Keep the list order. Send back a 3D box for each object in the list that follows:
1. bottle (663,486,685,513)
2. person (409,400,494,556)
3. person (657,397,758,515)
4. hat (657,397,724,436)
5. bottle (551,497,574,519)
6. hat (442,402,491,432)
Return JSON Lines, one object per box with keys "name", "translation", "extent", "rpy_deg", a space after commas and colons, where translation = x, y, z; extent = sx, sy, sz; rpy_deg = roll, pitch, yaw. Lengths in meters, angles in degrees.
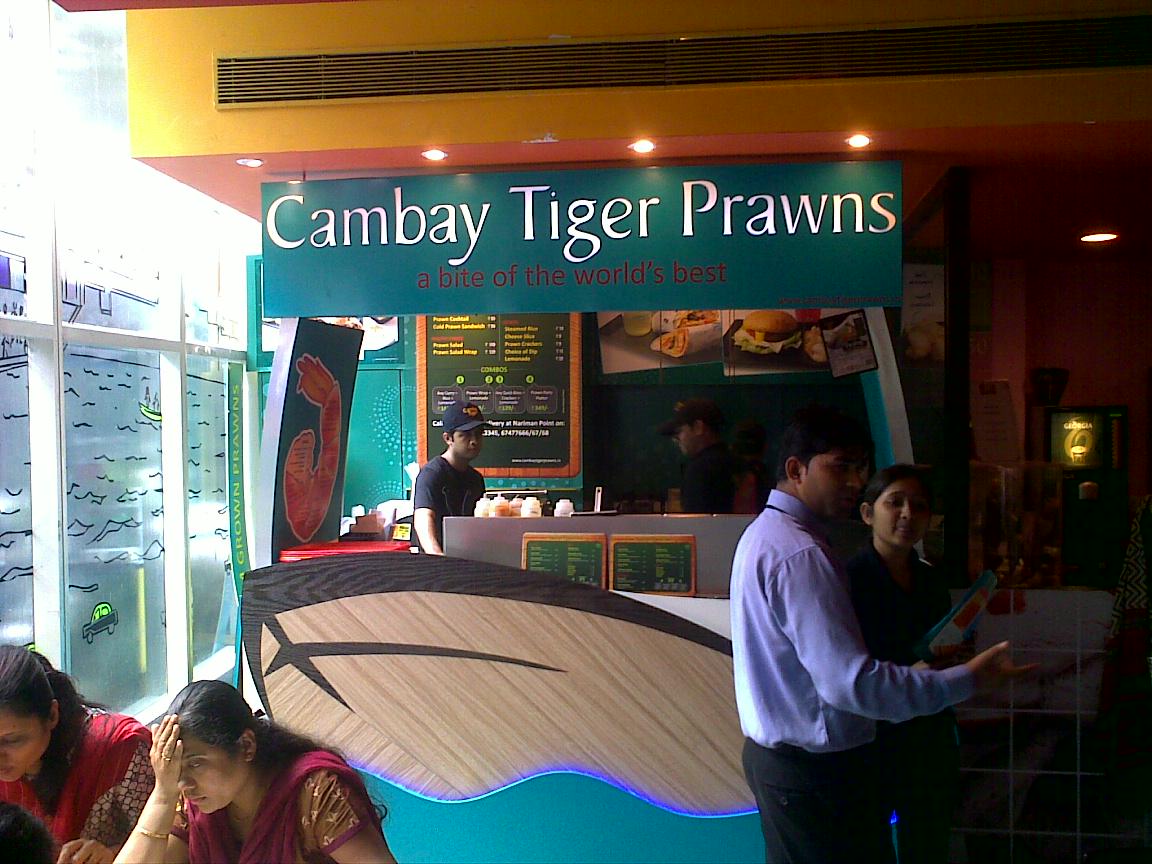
{"name": "bottle", "translation": [0.632, 0.445, 6.302], "extent": [0.125, 0.137, 0.132], "rpy_deg": [6, -8, -26]}
{"name": "person", "translation": [-0.721, 0.215, 5.235], "extent": [0.329, 0.806, 0.712], "rpy_deg": [0, -2, 10]}
{"name": "person", "translation": [0.735, 0.277, 5.474], "extent": [0.431, 0.919, 0.519], "rpy_deg": [2, 0, 30]}
{"name": "hat", "translation": [0.674, -0.094, 5.686], "extent": [0.330, 0.179, 0.231], "rpy_deg": [-1, 1, 16]}
{"name": "bottle", "translation": [-0.068, 0.376, 4.805], "extent": [0.096, 0.111, 0.096], "rpy_deg": [0, 1, -27]}
{"name": "hat", "translation": [-0.642, -0.091, 5.423], "extent": [0.205, 0.116, 0.154], "rpy_deg": [-11, -8, 38]}
